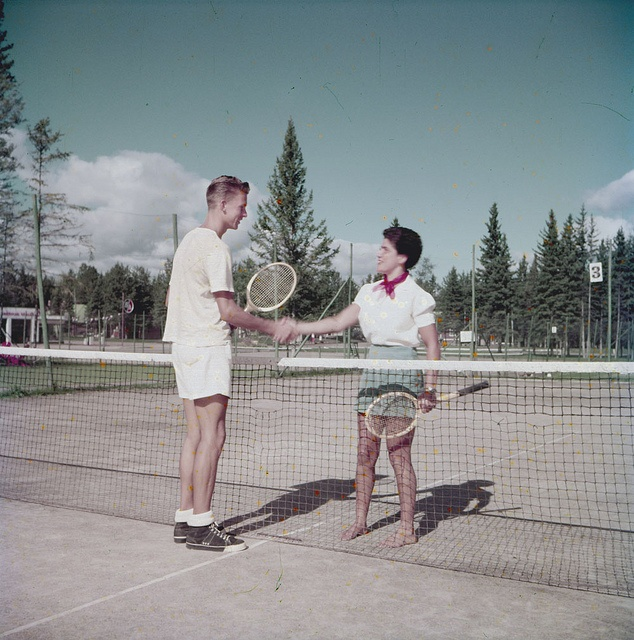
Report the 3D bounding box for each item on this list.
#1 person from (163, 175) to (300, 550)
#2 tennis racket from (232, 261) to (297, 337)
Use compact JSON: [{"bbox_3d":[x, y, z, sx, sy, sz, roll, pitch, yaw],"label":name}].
[{"bbox_3d":[-0.720,0.266,4.172,0.723,2.052,0.570,2,-1,-2],"label":"person"},{"bbox_3d":[-0.509,-0.279,5.821,0.760,0.304,0.034,-45,-8,-9],"label":"tennis racket"}]
